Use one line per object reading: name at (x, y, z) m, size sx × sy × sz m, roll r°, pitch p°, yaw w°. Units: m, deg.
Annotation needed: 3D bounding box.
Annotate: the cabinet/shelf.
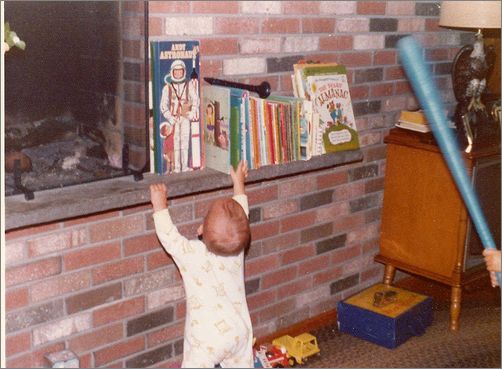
cabinet/shelf at (1.127, 0.228, 2.721) m, size 0.632 × 1.121 × 0.494 m, roll 12°, pitch 25°, yaw 40°
